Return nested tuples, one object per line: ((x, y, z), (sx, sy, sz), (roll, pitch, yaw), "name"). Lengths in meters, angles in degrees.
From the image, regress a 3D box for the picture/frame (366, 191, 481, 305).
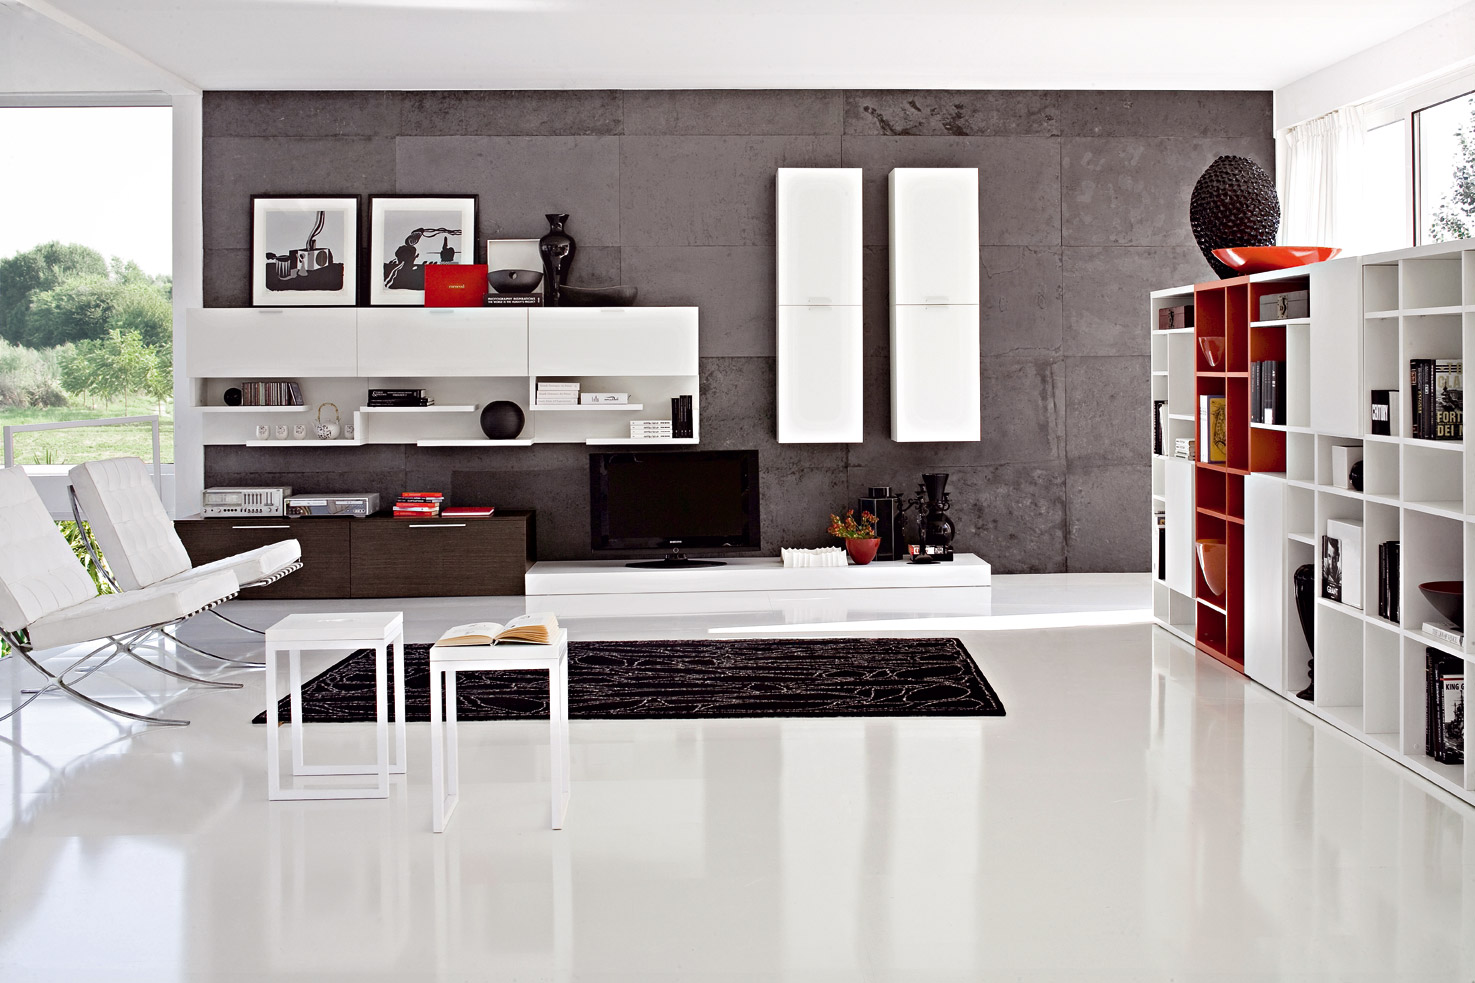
((-2.401, -1.802, 9.340), (0.909, 0.852, 0.085), (0, -5, -3), "picture/frame")

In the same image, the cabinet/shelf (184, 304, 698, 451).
((-2.206, -0.839, 9.259), (3.793, 1.058, 0.390), (0, 12, 0), "cabinet/shelf")

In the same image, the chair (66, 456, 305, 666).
((-3.512, 0.344, 7.383), (1.408, 1.404, 1.024), (1, 3, -5), "chair")

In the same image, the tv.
((-0.477, 0.101, 9.214), (0.935, 0.616, 0.245), (0, 2, 0), "tv")

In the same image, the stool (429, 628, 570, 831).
((-1.155, 1.089, 5.893), (0.792, 1.057, 1.035), (0, -2, -2), "stool")

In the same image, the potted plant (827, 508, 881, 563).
((0.910, 0.328, 9.380), (0.347, 0.369, 0.554), (-5, 13, -19), "potted plant")

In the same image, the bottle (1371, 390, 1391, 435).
((3.131, -0.384, 6.011), (0.058, 0.208, 0.183), (1, 13, 9), "bottle")

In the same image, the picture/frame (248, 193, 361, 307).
((-3.297, -1.805, 9.347), (0.917, 0.895, 0.066), (0, -2, -6), "picture/frame")
